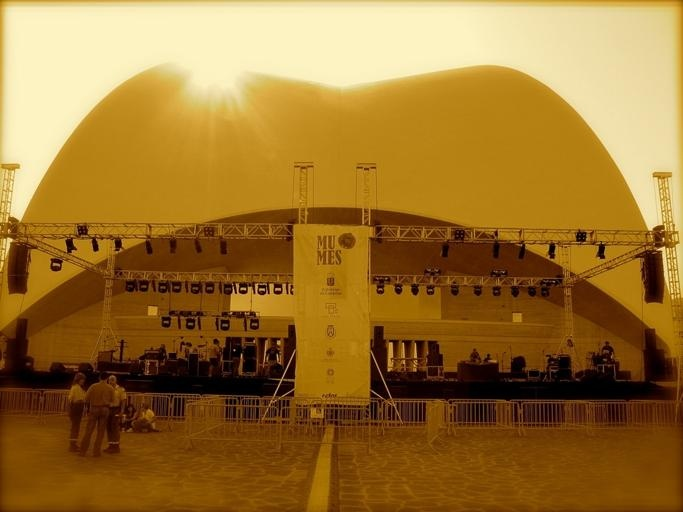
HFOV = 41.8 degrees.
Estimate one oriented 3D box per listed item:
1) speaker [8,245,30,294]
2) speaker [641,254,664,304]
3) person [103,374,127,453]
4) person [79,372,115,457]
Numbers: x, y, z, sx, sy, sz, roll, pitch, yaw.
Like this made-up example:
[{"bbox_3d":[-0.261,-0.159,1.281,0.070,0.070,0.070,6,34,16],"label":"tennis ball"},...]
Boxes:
[{"bbox_3d":[-14.348,0.490,39.625,0.907,2.356,1.015,5,-11,-22],"label":"speaker"},{"bbox_3d":[13.453,0.886,38.462,0.831,2.174,0.733,-2,-11,17],"label":"speaker"},{"bbox_3d":[-7.579,5.343,30.089,0.704,2.620,0.692,1,1,-25],"label":"person"},{"bbox_3d":[-7.983,5.112,29.305,0.801,2.533,0.664,9,-10,-19],"label":"person"}]
